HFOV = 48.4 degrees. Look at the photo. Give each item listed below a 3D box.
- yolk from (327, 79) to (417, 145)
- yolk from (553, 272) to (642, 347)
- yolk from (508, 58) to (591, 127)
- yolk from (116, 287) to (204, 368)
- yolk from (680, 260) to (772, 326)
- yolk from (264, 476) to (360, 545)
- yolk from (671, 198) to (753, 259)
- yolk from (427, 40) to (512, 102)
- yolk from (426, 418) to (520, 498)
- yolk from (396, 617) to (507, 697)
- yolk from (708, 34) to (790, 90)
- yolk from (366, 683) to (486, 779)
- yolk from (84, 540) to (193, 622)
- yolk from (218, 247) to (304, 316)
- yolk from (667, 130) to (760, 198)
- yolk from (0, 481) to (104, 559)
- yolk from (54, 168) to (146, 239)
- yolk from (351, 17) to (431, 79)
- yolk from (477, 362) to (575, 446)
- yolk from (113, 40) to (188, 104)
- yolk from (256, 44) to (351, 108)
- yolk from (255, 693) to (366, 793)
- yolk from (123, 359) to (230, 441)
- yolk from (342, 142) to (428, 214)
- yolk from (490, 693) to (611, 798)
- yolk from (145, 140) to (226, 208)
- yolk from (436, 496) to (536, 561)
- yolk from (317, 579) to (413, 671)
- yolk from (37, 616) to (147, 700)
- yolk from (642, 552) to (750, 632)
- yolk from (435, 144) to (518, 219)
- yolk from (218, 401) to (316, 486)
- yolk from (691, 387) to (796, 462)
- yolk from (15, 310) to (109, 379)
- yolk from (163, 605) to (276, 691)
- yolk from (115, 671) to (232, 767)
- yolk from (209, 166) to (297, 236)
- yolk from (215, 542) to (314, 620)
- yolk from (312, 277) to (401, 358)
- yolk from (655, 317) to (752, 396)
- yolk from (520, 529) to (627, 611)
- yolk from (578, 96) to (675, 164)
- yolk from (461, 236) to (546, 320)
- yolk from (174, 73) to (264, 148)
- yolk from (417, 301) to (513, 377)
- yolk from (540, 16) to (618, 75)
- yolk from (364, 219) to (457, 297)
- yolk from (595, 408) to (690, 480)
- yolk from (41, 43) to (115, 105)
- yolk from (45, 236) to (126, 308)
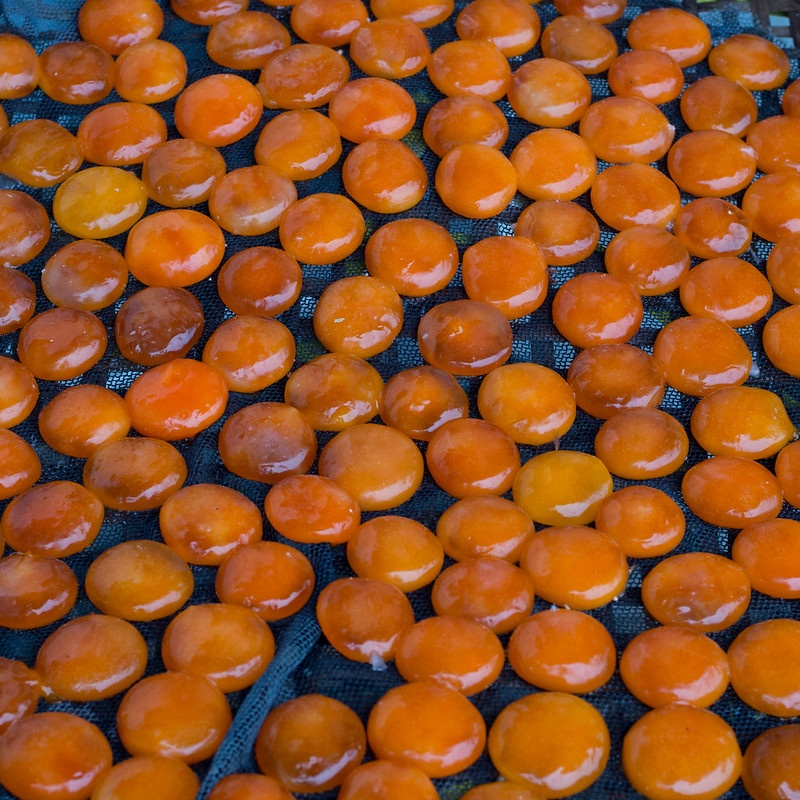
[{"bbox_3d":[-0.029,-0.293,0.884,0.098,0.088,0.023,-3,85,-23],"label":"yolk"},{"bbox_3d":[0.176,-0.080,0.803,0.075,0.044,0.071,25,50,21],"label":"yolk"},{"bbox_3d":[0.152,-0.311,0.907,0.076,0.048,0.068,-12,48,-12],"label":"yolk"},{"bbox_3d":[-0.209,-0.065,0.779,0.066,0.045,0.069,18,48,15],"label":"yolk"},{"bbox_3d":[0.296,-0.098,0.817,0.073,0.039,0.063,-16,48,-16],"label":"yolk"},{"bbox_3d":[-0.069,0.088,0.705,0.075,0.040,0.048,7,47,5],"label":"yolk"},{"bbox_3d":[0.295,-0.163,0.847,0.066,0.035,0.062,-13,47,-14],"label":"yolk"},{"bbox_3d":[0.074,-0.335,0.912,0.077,0.044,0.070,-13,48,-14],"label":"yolk"},{"bbox_3d":[0.060,0.049,0.738,0.066,0.042,0.069,-28,53,-26],"label":"yolk"},{"bbox_3d":[0.036,0.184,0.645,0.075,0.034,0.050,12,47,10],"label":"yolk"},{"bbox_3d":[0.370,-0.363,0.946,0.085,0.089,0.022,1,78,37],"label":"yolk"},{"bbox_3d":[0.019,0.225,0.613,0.078,0.034,0.059,16,47,14],"label":"yolk"},{"bbox_3d":[-0.197,0.138,0.676,0.071,0.036,0.060,-20,49,-20],"label":"yolk"},{"bbox_3d":[-0.125,-0.105,0.803,0.072,0.043,0.060,-19,50,-19],"label":"yolk"},{"bbox_3d":[0.302,-0.232,0.879,0.070,0.046,0.072,-26,52,-24],"label":"yolk"},{"bbox_3d":[-0.269,0.094,0.697,0.072,0.036,0.055,-29,53,-27],"label":"yolk"},{"bbox_3d":[-0.276,-0.182,0.826,0.083,0.047,0.058,-2,47,-3],"label":"yolk"},{"bbox_3d":[-0.013,-0.364,0.917,0.095,0.088,0.018,7,77,0],"label":"yolk"},{"bbox_3d":[0.109,0.004,0.767,0.082,0.044,0.068,5,46,4],"label":"yolk"},{"bbox_3d":[-0.234,-0.329,0.869,0.081,0.075,0.018,19,72,-6],"label":"yolk"},{"bbox_3d":[-0.092,-0.323,0.886,0.091,0.017,0.054,-1,76,-2],"label":"yolk"},{"bbox_3d":[-0.061,0.235,0.609,0.066,0.028,0.067,33,53,28],"label":"yolk"},{"bbox_3d":[-0.187,0.001,0.751,0.083,0.048,0.056,-10,48,-11],"label":"yolk"},{"bbox_3d":[-0.014,-0.213,0.850,0.074,0.050,0.062,-14,49,-14],"label":"yolk"},{"bbox_3d":[0.103,0.236,0.614,0.075,0.036,0.070,23,49,20],"label":"yolk"},{"bbox_3d":[-0.203,-0.214,0.844,0.068,0.045,0.064,12,47,10],"label":"yolk"},{"bbox_3d":[0.070,0.097,0.714,0.088,0.020,0.075,-1,37,1],"label":"yolk"},{"bbox_3d":[-0.029,0.162,0.661,0.070,0.034,0.059,18,48,16],"label":"yolk"},{"bbox_3d":[-0.221,0.185,0.641,0.072,0.028,0.060,-21,49,-22],"label":"yolk"},{"bbox_3d":[0.227,0.147,0.685,0.076,0.030,0.062,13,46,11],"label":"yolk"},{"bbox_3d":[0.072,-0.209,0.852,0.075,0.054,0.059,13,48,11],"label":"yolk"},{"bbox_3d":[-0.109,0.035,0.734,0.076,0.039,0.065,-12,47,-13],"label":"yolk"},{"bbox_3d":[0.292,0.020,0.762,0.078,0.035,0.068,-20,49,-20],"label":"yolk"},{"bbox_3d":[-0.292,-0.048,0.772,0.072,0.042,0.054,-21,51,-20],"label":"yolk"},{"bbox_3d":[-0.132,0.180,0.652,0.078,0.041,0.057,15,48,13],"label":"yolk"},{"bbox_3d":[-0.156,0.220,0.617,0.074,0.033,0.059,12,46,10],"label":"yolk"},{"bbox_3d":[-0.139,-0.184,0.823,0.078,0.018,0.063,5,60,0],"label":"yolk"},{"bbox_3d":[-0.102,0.138,0.680,0.069,0.039,0.054,16,48,14],"label":"yolk"},{"bbox_3d":[-0.036,-0.074,0.781,0.085,0.039,0.066,-10,72,-4],"label":"yolk"},{"bbox_3d":[0.267,-0.038,0.791,0.076,0.044,0.069,-7,47,-8],"label":"yolk"},{"bbox_3d":[0.133,0.129,0.689,0.078,0.042,0.060,22,50,19],"label":"yolk"},{"bbox_3d":[0.221,-0.267,0.889,0.077,0.046,0.073,-26,52,-24],"label":"yolk"},{"bbox_3d":[0.091,-0.116,0.825,0.094,0.076,0.038,-13,60,10],"label":"yolk"},{"bbox_3d":[-0.175,-0.283,0.875,0.089,0.051,0.060,-13,49,-13],"label":"yolk"},{"bbox_3d":[0.062,-0.058,0.791,0.097,0.089,0.024,5,61,7],"label":"yolk"},{"bbox_3d":[0.187,-0.381,0.945,0.081,0.084,0.022,6,85,12],"label":"yolk"},{"bbox_3d":[0.011,-0.131,0.822,0.082,0.049,0.068,-5,47,-6],"label":"yolk"},{"bbox_3d":[0.202,0.036,0.749,0.075,0.040,0.055,1,46,0],"label":"yolk"},{"bbox_3d":[-0.322,-0.326,0.890,0.074,0.043,0.058,-13,48,-14],"label":"yolk"},{"bbox_3d":[-0.280,-0.109,0.797,0.059,0.041,0.071,35,54,28],"label":"yolk"}]
